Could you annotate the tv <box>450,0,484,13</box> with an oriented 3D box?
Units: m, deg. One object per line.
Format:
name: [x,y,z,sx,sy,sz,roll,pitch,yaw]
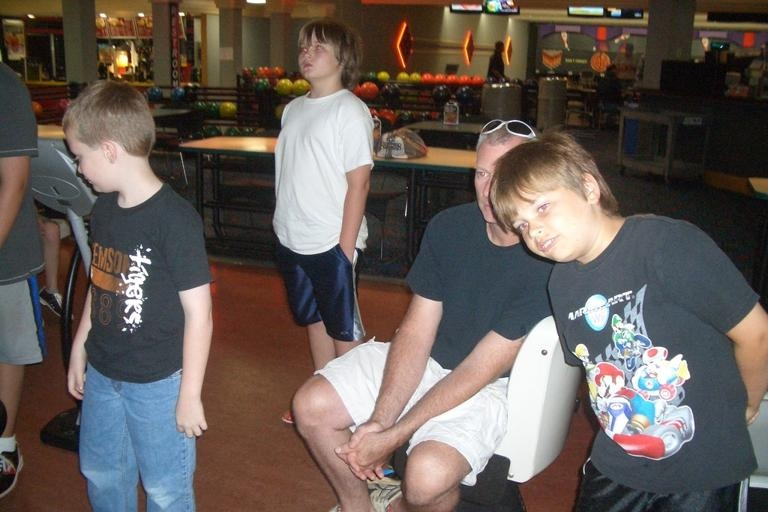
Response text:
tv: [2.899,-8.847,20.536,1.188,0.312,1.903,3,15,5]

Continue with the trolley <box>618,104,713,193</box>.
trolley: [4.317,-1.749,8.994,1.316,0.822,1.333,10,18,29]

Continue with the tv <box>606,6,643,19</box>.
tv: [8.835,-8.900,21.217,1.343,0.429,0.642,15,20,40]

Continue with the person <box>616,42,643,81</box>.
person: [9.298,-7.587,22.434,0.804,1.058,0.799,3,22,14]

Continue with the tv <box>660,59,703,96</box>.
tv: [5.566,-3.441,11.015,0.236,0.566,0.794,-11,20,-36]

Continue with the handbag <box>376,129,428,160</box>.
handbag: [0.138,-0.915,4.755,0.381,0.137,0.268,3,20,2]
